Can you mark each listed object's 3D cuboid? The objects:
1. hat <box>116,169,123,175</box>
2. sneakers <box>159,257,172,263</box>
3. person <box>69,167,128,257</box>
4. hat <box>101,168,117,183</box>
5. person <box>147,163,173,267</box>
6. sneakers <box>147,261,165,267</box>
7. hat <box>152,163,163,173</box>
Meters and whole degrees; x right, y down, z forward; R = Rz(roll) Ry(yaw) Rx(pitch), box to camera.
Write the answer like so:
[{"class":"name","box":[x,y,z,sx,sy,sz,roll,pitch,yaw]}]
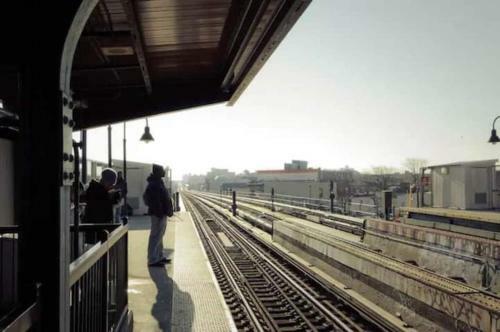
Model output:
[{"class":"hat","box":[-5.179,0.258,15.747,0.191,0.206,0.251,2,5,-9]},{"class":"sneakers","box":[-2.164,2.403,10.172,0.283,0.117,0.103,0,-2,-11]},{"class":"person","box":[-2.804,0.831,7.392,0.754,1.564,1.895,0,-1,-18]},{"class":"hat","box":[-2.836,0.239,8.147,0.241,0.338,0.331,2,-21,-10]},{"class":"person","box":[-2.237,1.227,9.736,0.651,2.486,0.947,-1,-1,-12]},{"class":"sneakers","box":[-2.318,2.403,9.832,0.399,0.176,0.150,0,-2,-5]},{"class":"hat","box":[-2.272,0.082,9.616,0.282,0.225,0.320,-1,-1,7]}]
